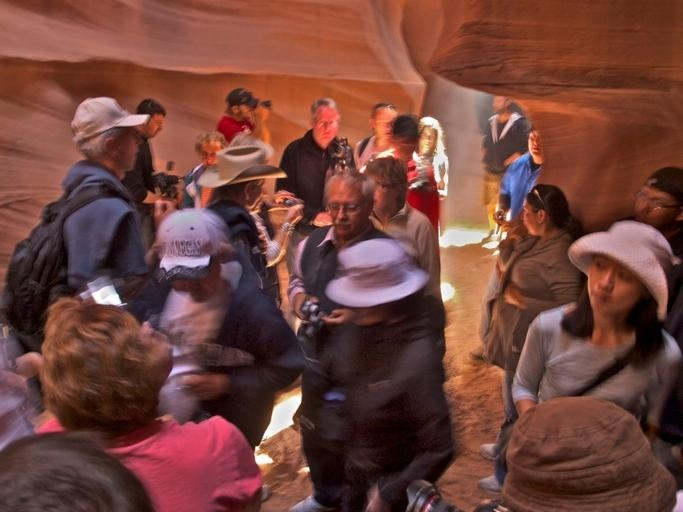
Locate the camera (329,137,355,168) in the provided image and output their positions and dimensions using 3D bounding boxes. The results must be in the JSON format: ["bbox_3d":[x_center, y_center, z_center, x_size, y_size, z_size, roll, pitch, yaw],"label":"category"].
[{"bbox_3d":[-0.012,-0.846,4.688,0.245,0.293,0.119,-5,17,-29],"label":"camera"}]

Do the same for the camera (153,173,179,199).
[{"bbox_3d":[-1.494,-0.604,4.682,0.144,0.182,0.401,-13,21,-41],"label":"camera"}]

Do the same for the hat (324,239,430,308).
[{"bbox_3d":[0.159,0.087,2.538,0.369,0.149,0.346,-16,20,-12],"label":"hat"}]

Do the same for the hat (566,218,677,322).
[{"bbox_3d":[1.155,-0.003,2.367,0.467,0.351,0.256,27,61,35],"label":"hat"}]

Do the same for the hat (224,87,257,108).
[{"bbox_3d":[-0.900,-1.467,5.149,0.286,0.139,0.184,-20,29,-30],"label":"hat"}]

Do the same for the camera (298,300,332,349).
[{"bbox_3d":[-0.141,0.341,2.735,0.145,0.216,0.227,2,12,0],"label":"camera"}]

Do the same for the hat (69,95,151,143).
[{"bbox_3d":[-1.200,-0.706,2.888,0.353,0.158,0.224,-20,20,-10],"label":"hat"}]
